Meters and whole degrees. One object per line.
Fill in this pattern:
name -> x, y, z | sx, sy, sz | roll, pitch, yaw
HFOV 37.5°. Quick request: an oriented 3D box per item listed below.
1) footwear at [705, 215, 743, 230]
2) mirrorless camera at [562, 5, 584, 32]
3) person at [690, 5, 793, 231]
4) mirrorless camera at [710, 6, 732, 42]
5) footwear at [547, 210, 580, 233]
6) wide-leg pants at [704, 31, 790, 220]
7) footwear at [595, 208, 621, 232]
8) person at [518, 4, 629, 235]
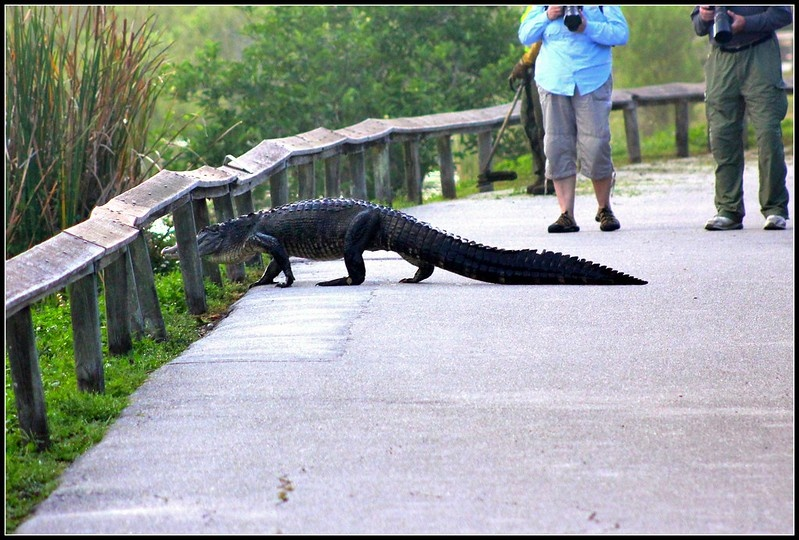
footwear -> 2.566, -0.357, 9.250 | 0.286, 0.117, 0.112 | 7, -4, -12
mirrorless camera -> 1.365, -1.982, 9.240 | 0.151, 0.206, 0.177 | -5, 10, 8
person -> 2.709, -1.175, 9.283 | 0.737, 1.749, 0.606 | 7, 18, 21
mirrorless camera -> 2.462, -1.876, 8.960 | 0.145, 0.287, 0.232 | -4, 11, 17
footwear -> 1.334, -0.373, 9.517 | 0.272, 0.162, 0.123 | -1, 3, -13
wide-leg pants -> 2.684, -1.111, 9.103 | 0.602, 1.381, 0.485 | 5, 17, 17
footwear -> 1.707, -0.414, 9.636 | 0.116, 0.120, 0.269 | -9, 20, -1
person -> 1.396, -1.343, 9.612 | 0.828, 1.907, 0.685 | 5, 20, 9
